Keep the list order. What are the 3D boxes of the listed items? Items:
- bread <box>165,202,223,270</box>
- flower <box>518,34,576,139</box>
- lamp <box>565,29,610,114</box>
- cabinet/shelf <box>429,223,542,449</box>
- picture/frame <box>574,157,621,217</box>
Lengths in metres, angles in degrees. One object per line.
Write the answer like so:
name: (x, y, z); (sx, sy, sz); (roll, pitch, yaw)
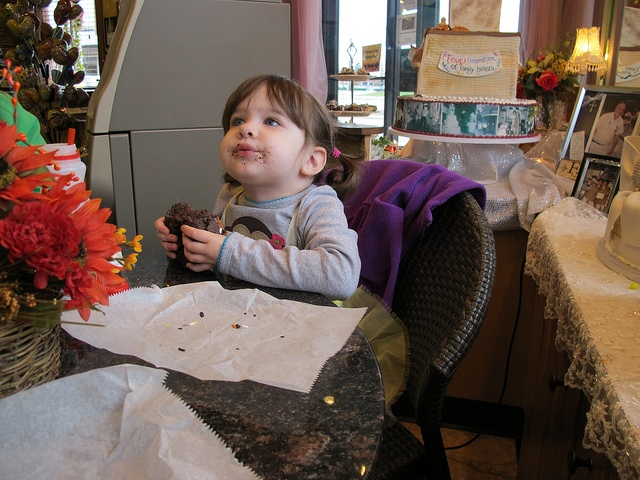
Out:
bread: (-0.290, 0.008, 1.037); (0.110, 0.069, 0.140); (-28, 64, -35)
flower: (1.082, -0.708, 2.081); (0.211, 0.356, 0.228); (-8, 16, -5)
lamp: (1.602, -1.049, 2.740); (0.215, 0.407, 0.231); (-3, 21, 6)
cabinet/shelf: (0.634, 0.307, 1.955); (0.573, 0.852, 0.640); (1, 9, 15)
picture/frame: (0.701, -0.130, 1.140); (0.014, 0.159, 0.144); (8, 10, -20)
